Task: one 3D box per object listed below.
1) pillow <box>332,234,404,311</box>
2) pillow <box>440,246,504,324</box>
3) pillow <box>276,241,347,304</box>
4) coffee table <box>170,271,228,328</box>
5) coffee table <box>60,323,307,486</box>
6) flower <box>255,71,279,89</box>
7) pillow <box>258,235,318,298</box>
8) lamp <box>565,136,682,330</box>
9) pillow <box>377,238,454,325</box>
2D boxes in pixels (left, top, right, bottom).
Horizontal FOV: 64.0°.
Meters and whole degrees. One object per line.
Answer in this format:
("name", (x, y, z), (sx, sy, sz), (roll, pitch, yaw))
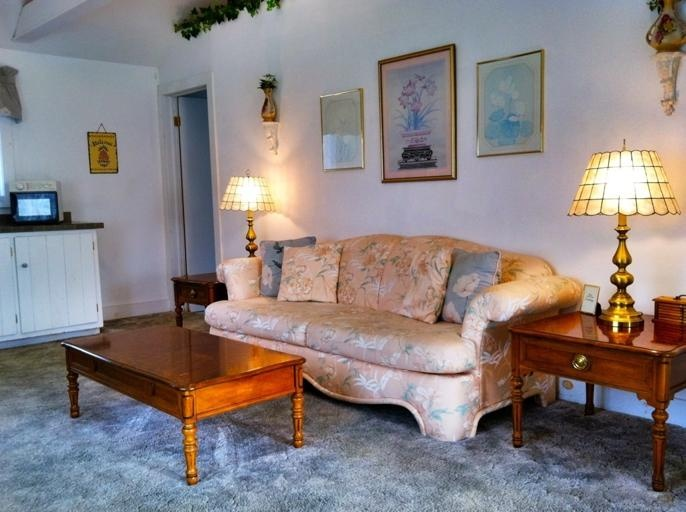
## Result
("pillow", (0.225, 0.133, 4.009), (0.209, 0.506, 0.516), (15, -10, -36))
("pillow", (0.749, 0.190, 3.193), (0.170, 0.439, 0.369), (19, -16, -26))
("pillow", (-0.240, 0.140, 4.143), (0.468, 0.442, 0.146), (-1, -16, 38))
("coffee table", (-1.171, 0.383, 4.779), (0.504, 0.484, 0.454), (-3, 3, -43))
("coffee table", (-0.905, 0.763, 3.104), (1.351, 0.501, 0.649), (6, 11, 40))
("flower", (-0.679, -1.565, 4.938), (0.144, 0.169, 0.139), (6, 12, 39))
("pillow", (-0.427, 0.106, 4.280), (0.414, 0.415, 0.162), (-6, -16, 25))
("lamp", (1.485, -0.128, 2.866), (0.431, 0.933, 0.580), (7, 13, 43))
("pillow", (0.443, 0.169, 3.573), (0.135, 0.487, 0.495), (13, 1, -32))
